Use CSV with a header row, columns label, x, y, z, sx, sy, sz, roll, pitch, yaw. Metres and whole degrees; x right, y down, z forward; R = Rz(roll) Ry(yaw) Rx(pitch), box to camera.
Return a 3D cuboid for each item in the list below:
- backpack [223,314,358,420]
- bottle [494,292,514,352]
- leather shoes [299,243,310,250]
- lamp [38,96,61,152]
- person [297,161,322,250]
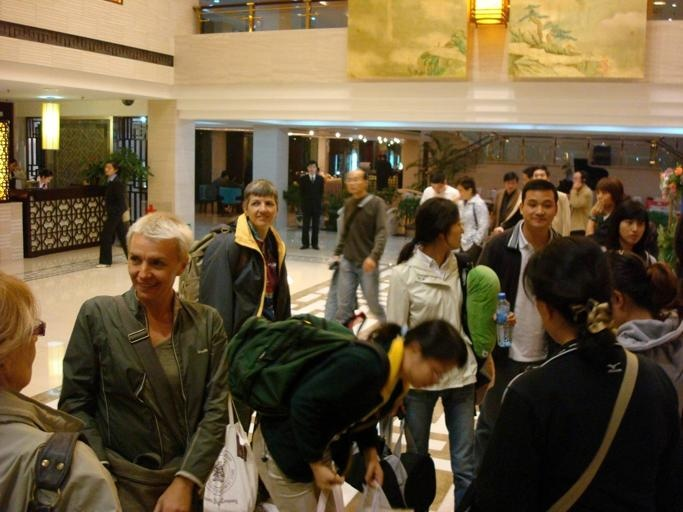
label,x,y,z,sx,sy,sz,roll,pitch,yaw
backpack,-0.208,0.404,2.011,0.447,0.350,0.195,-4,-33,20
bottle,0.898,0.369,2.984,0.080,0.338,0.272,1,7,19
leather shoes,-0.906,-0.224,12.864,0.217,0.120,0.271,-1,6,-7
lamp,-6.322,-2.811,11.586,0.340,0.936,0.173,0,6,11
person,-0.750,-1.255,13.142,0.549,2.119,1.115,-1,6,-5
